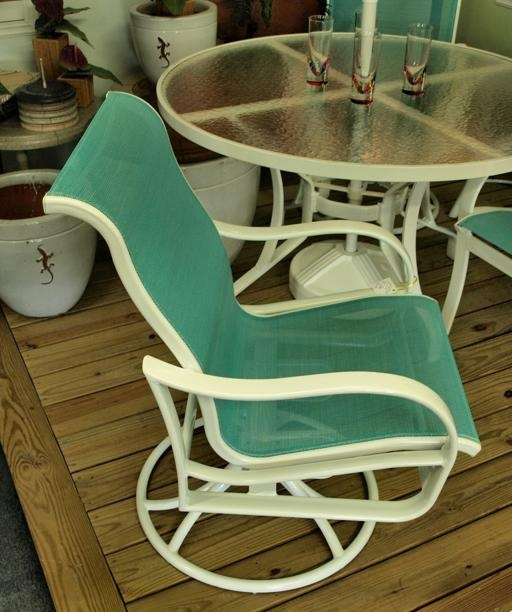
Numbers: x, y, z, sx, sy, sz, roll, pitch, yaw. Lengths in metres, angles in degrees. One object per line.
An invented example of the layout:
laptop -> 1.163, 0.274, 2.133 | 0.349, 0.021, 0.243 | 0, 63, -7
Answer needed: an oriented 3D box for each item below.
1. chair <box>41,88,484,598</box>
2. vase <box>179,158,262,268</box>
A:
chair -> 0.055, 0.074, 1.150 | 0.830, 0.747, 0.594 | 10, 36, -2
vase -> -0.106, -0.361, 2.008 | 0.360, 0.332, 0.302 | -11, 42, -14
